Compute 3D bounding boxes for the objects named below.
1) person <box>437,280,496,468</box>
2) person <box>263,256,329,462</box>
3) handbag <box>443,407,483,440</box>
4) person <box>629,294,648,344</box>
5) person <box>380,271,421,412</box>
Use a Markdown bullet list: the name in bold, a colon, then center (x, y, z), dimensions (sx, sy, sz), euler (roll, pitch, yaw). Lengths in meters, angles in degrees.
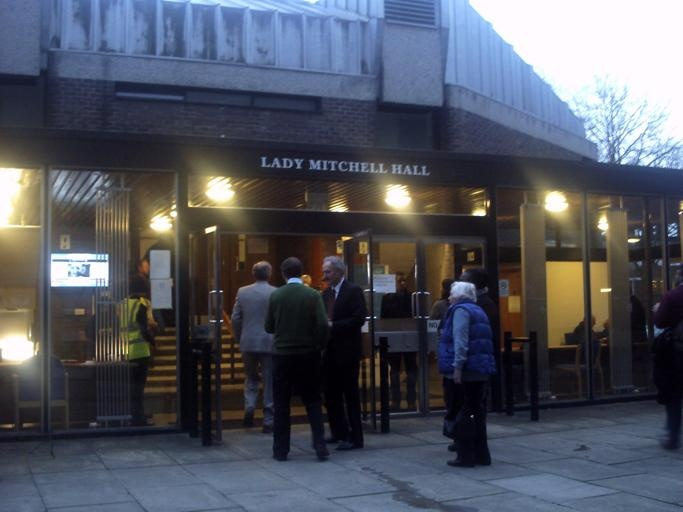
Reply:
- **person**: center (1.553, 1.483, 9.992), dimensions (0.678, 2.289, 0.510), euler (0, 1, 10)
- **person**: center (-0.574, 1.485, 10.397), dimensions (0.794, 2.310, 0.294), euler (0, 1, -7)
- **handbag**: center (1.502, 2.101, 10.007), dimensions (0.408, 0.464, 0.309), euler (3, -9, 0)
- **person**: center (5.335, 1.131, 14.497), dimensions (0.337, 0.853, 0.130), euler (-1, 2, -24)
- **person**: center (0.921, 1.376, 12.935), dimensions (0.601, 2.171, 0.242), euler (-1, 2, -26)
